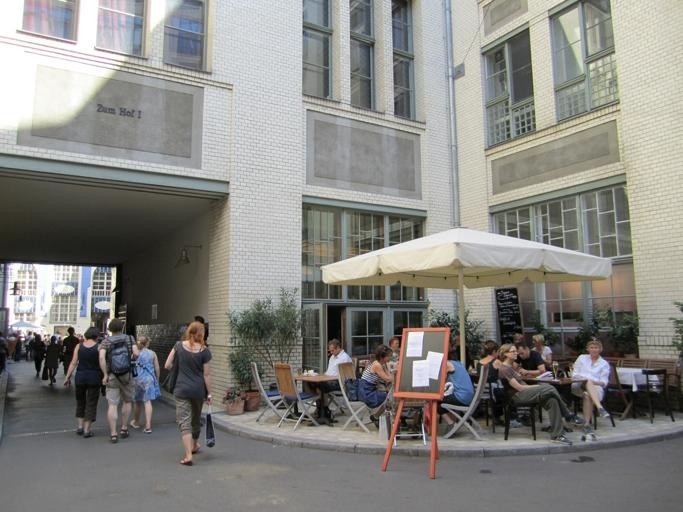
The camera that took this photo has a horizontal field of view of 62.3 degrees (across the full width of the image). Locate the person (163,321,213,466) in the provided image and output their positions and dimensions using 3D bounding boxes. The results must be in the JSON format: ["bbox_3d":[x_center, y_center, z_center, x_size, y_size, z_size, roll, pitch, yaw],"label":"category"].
[{"bbox_3d":[-2.737,2.408,10.092,0.733,2.476,0.687,2,-7,-18],"label":"person"}]

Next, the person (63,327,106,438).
[{"bbox_3d":[-5.478,2.672,12.103,0.791,2.344,0.946,2,-3,-32],"label":"person"}]

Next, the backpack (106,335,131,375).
[{"bbox_3d":[-4.592,2.042,11.633,0.471,0.756,0.716,3,-28,-25],"label":"backpack"}]

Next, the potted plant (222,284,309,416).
[{"bbox_3d":[-2.181,2.455,15.235,1.335,3.118,1.451,7,-5,-35],"label":"potted plant"}]

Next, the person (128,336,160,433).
[{"bbox_3d":[-4.362,2.770,12.490,0.655,2.168,0.881,2,-3,-29],"label":"person"}]

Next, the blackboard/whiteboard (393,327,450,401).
[{"bbox_3d":[1.412,1.853,9.812,0.917,1.192,0.489,-3,-7,17],"label":"blackboard/whiteboard"}]

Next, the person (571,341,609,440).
[{"bbox_3d":[5.106,2.600,11.590,0.731,2.115,0.905,-2,-3,44],"label":"person"}]

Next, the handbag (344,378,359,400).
[{"bbox_3d":[0.251,2.797,11.871,0.148,0.399,0.375,-2,-3,-17],"label":"handbag"}]

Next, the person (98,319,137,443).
[{"bbox_3d":[-4.729,2.577,11.827,0.715,2.290,1.050,2,-3,-34],"label":"person"}]
